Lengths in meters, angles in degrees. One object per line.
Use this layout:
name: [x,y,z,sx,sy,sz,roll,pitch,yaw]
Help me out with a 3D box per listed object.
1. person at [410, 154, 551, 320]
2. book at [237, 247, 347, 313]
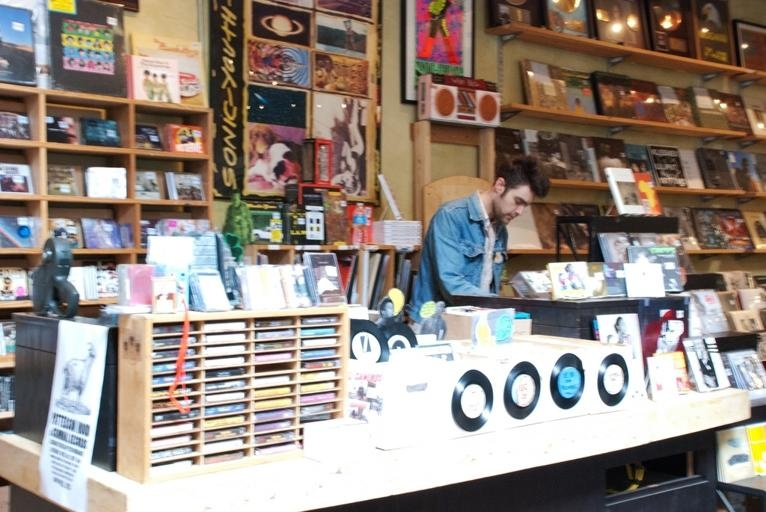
person: [0.561,-0.119,3.601,0.730,0.987,0.776,-1,-3,-25]
book: [-0.290,0.079,1.803,0.359,0.178,0.099,0,-3,-37]
